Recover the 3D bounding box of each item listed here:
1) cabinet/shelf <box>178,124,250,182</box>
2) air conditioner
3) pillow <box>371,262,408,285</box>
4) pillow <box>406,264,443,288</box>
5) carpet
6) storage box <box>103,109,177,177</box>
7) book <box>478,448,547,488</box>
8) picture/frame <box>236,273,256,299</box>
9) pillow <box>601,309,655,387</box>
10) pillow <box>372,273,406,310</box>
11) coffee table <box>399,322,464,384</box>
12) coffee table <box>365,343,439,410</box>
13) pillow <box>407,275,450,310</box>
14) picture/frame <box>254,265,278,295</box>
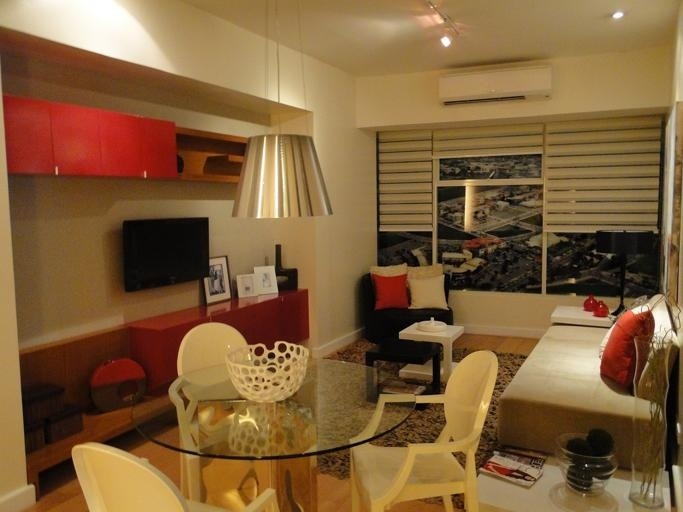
[{"bbox_3d":[-1.256,-0.942,4.626,0.238,0.394,0.945,15,13,35],"label":"cabinet/shelf"},{"bbox_3d":[1.717,-1.969,5.560,1.194,0.401,0.245,3,6,20],"label":"air conditioner"},{"bbox_3d":[0.595,0.223,6.225,0.270,0.238,0.075,5,-16,-11],"label":"pillow"},{"bbox_3d":[1.036,0.258,6.134,0.284,0.182,0.095,-6,-26,6],"label":"pillow"},{"bbox_3d":[0.692,1.280,3.892,1.091,0.345,1.590,1,6,19],"label":"carpet"},{"bbox_3d":[-1.722,-0.857,3.872,0.411,0.470,0.746,4,9,25],"label":"storage box"},{"bbox_3d":[0.931,1.129,2.656,0.313,0.072,0.318,30,-43,-2],"label":"book"},{"bbox_3d":[-0.986,0.316,5.058,0.022,0.289,0.267,-8,-4,44],"label":"picture/frame"},{"bbox_3d":[2.031,0.625,3.520,0.257,0.477,0.630,1,-6,18],"label":"pillow"},{"bbox_3d":[0.607,0.431,6.087,0.479,0.388,0.241,-3,19,-13],"label":"pillow"},{"bbox_3d":[0.703,0.996,4.870,0.691,0.436,0.669,3,-9,8],"label":"coffee table"},{"bbox_3d":[0.581,0.978,4.398,0.557,0.470,0.583,4,10,31],"label":"coffee table"},{"bbox_3d":[1.050,0.458,6.056,0.485,0.418,0.172,-5,-2,4],"label":"pillow"},{"bbox_3d":[-0.810,0.261,5.223,0.321,0.342,0.024,-4,-13,-37],"label":"picture/frame"}]
